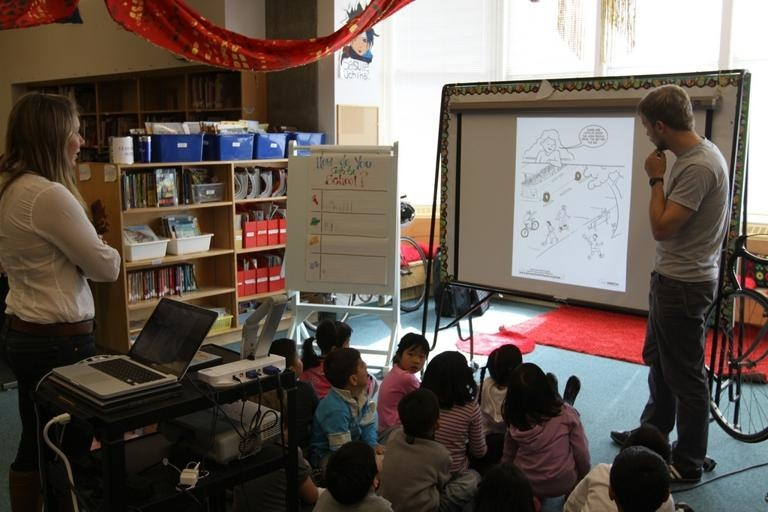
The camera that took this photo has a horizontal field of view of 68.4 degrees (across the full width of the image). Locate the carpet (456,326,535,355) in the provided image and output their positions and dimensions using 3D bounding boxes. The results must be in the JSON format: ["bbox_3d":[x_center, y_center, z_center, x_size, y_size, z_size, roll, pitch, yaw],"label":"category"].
[{"bbox_3d":[1.069,0.782,5.198,0.387,0.107,0.400,0,7,18],"label":"carpet"}]

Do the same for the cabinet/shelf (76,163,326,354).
[{"bbox_3d":[-1.424,-0.015,4.264,0.502,1.480,1.577,4,8,40],"label":"cabinet/shelf"}]

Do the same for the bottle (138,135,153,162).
[{"bbox_3d":[-1.938,-0.870,4.637,0.056,0.219,0.120,3,8,27],"label":"bottle"}]

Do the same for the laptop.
[{"bbox_3d":[-1.007,0.364,2.284,0.544,0.246,0.524,-6,9,-41],"label":"laptop"}]

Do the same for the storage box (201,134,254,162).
[{"bbox_3d":[-1.389,-0.967,5.060,0.432,0.235,0.132,-4,8,-21],"label":"storage box"}]

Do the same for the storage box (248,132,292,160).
[{"bbox_3d":[-1.072,-1.033,5.359,0.267,0.184,0.267,2,11,-2],"label":"storage box"}]

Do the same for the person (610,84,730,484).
[{"bbox_3d":[1.641,0.178,3.221,0.515,2.204,0.449,4,9,31],"label":"person"}]

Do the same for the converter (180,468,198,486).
[{"bbox_3d":[-0.758,0.859,2.206,0.063,0.063,0.061,-3,-10,-2],"label":"converter"}]

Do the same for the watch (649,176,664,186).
[{"bbox_3d":[1.470,-0.406,3.073,0.056,0.031,0.056,4,-5,-12],"label":"watch"}]
